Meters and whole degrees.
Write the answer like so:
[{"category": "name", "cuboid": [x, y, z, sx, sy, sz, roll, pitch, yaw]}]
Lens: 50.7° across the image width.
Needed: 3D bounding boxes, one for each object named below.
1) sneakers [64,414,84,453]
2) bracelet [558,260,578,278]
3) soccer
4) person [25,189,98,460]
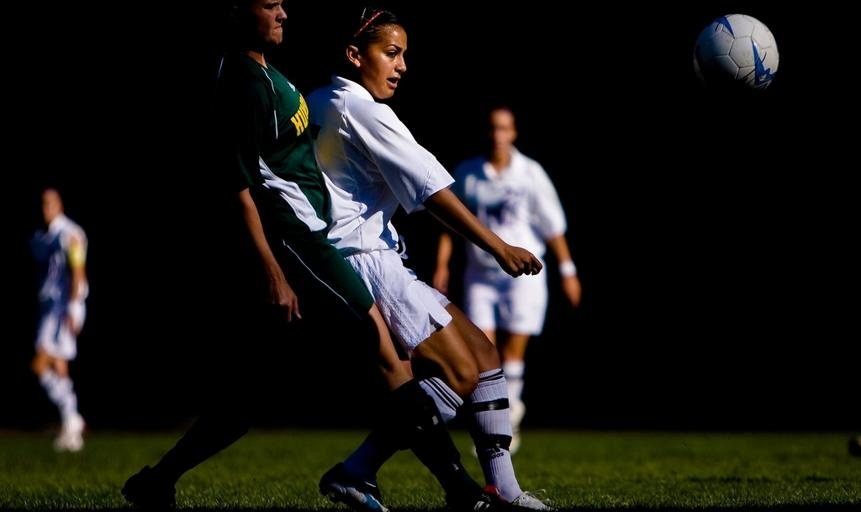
[{"category": "sneakers", "cuboid": [-3.676, 1.828, 9.339, 0.158, 0.411, 0.207, 7, -13, 8]}, {"category": "bracelet", "cuboid": [1.449, 0.158, 9.761, 0.189, 0.201, 0.202, -3, -5, 28]}, {"category": "soccer", "cuboid": [2.472, -1.644, 7.511, 0.599, 0.638, 0.588, -15, 6, 35]}, {"category": "person", "cuboid": [-3.742, 0.664, 9.240, 0.674, 2.673, 0.439, -3, -5, 40]}]
